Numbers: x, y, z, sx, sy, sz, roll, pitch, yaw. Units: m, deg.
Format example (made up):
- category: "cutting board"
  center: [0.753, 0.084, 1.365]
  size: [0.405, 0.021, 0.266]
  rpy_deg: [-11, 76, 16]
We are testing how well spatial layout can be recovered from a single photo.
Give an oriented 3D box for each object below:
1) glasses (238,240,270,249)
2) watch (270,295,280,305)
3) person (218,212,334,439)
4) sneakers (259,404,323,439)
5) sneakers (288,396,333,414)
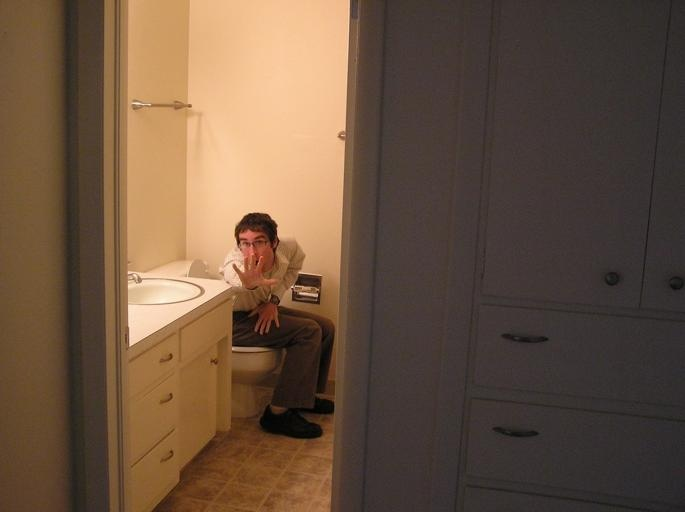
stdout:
- category: "glasses"
  center: [-0.432, -0.054, 2.936]
  size: [0.147, 0.055, 0.064]
  rpy_deg: [4, 15, 7]
- category: "watch"
  center: [-0.332, 0.219, 3.017]
  size: [0.036, 0.036, 0.045]
  rpy_deg: [0, 0, -6]
- category: "person"
  center: [-0.349, 0.333, 2.935]
  size: [0.535, 1.076, 0.786]
  rpy_deg: [0, 13, 8]
- category: "sneakers"
  center: [-0.241, 0.805, 2.891]
  size: [0.274, 0.132, 0.134]
  rpy_deg: [6, 4, 4]
- category: "sneakers"
  center: [-0.157, 0.774, 3.124]
  size: [0.216, 0.102, 0.084]
  rpy_deg: [-4, 13, -7]
